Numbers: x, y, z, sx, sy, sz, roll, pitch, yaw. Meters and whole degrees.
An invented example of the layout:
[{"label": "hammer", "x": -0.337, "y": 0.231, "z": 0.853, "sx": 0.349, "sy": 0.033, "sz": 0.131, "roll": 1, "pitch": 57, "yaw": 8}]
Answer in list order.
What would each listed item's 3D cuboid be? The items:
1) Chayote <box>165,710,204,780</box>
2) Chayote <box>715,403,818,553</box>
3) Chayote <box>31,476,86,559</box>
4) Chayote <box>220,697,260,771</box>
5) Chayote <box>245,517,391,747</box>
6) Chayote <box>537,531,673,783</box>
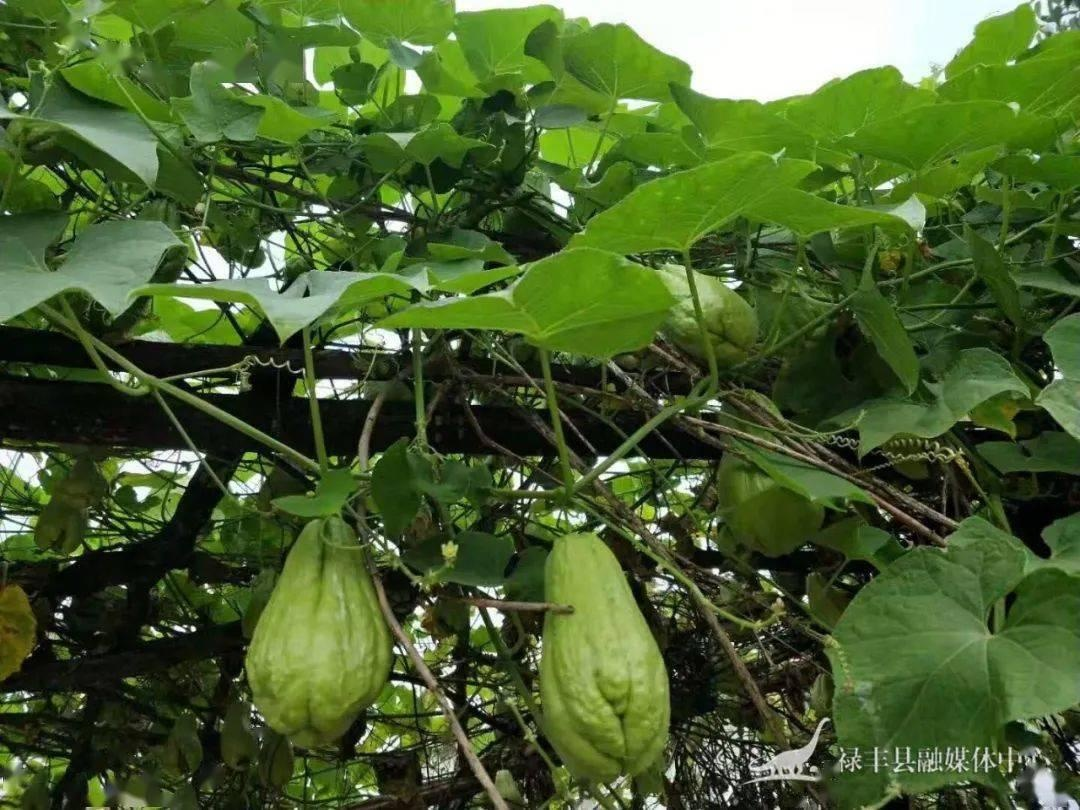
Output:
[{"label": "Chayote", "x": -0.637, "y": 0.617, "z": 1.695, "sx": 0.059, "sy": 0.064, "sz": 0.029, "roll": 20, "pitch": -57, "yaw": -22}, {"label": "Chayote", "x": 0.314, "y": 0.090, "z": 1.288, "sx": 0.141, "sy": 0.193, "sz": 0.100, "roll": -32, "pitch": -7, "yaw": 30}, {"label": "Chayote", "x": -0.773, "y": 0.177, "z": 1.536, "sx": 0.073, "sy": 0.104, "sz": 0.128, "roll": 14, "pitch": -32, "yaw": -23}, {"label": "Chayote", "x": -0.505, "y": 0.545, "z": 1.599, "sx": 0.070, "sy": 0.102, "sz": 0.069, "roll": -5, "pitch": -24, "yaw": 2}, {"label": "Chayote", "x": -0.227, "y": 0.234, "z": 1.017, "sx": 0.127, "sy": 0.232, "sz": 0.084, "roll": 21, "pitch": -39, "yaw": -31}, {"label": "Chayote", "x": 0.070, "y": 0.270, "z": 1.051, "sx": 0.150, "sy": 0.245, "sz": 0.134, "roll": -16, "pitch": -27, "yaw": -7}]
